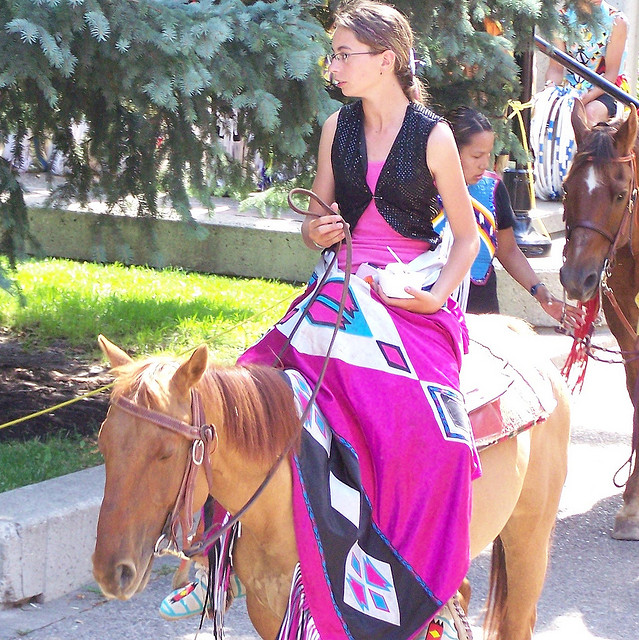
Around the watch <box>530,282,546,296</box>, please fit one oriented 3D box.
[{"bbox_3d":[0.974,-0.151,4.064,0.047,0.075,0.025,-4,-10,27],"label":"watch"}]

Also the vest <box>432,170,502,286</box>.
[{"bbox_3d":[0.671,-0.414,4.416,0.346,0.641,0.410,6,19,13],"label":"vest"}]
